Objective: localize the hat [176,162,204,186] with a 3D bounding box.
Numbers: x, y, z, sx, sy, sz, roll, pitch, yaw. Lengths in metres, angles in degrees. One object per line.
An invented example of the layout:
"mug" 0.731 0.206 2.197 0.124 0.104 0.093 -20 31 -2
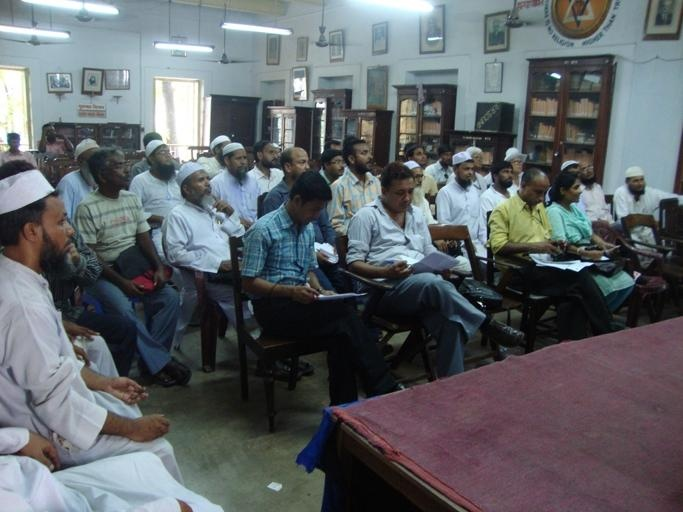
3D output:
"hat" -1.143 -0.622 4.049 0.181 0.119 0.182 -33 8 7

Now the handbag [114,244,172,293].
"handbag" -1.391 0.062 3.736 0.112 0.310 0.310 -45 -2 42

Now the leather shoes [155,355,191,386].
"leather shoes" -1.126 0.783 3.592 0.241 0.107 0.118 0 52 19

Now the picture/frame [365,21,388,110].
"picture/frame" 0.726 -3.682 10.397 0.155 1.594 0.591 -6 13 -28

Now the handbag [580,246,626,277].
"handbag" 2.256 0.070 4.526 0.300 0.135 0.298 -6 4 -36

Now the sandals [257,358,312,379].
"sandals" -0.340 0.771 3.645 0.219 0.088 0.281 2 -2 -36

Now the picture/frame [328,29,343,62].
"picture/frame" -0.095 -4.450 11.319 0.054 0.805 0.667 -14 23 -36
